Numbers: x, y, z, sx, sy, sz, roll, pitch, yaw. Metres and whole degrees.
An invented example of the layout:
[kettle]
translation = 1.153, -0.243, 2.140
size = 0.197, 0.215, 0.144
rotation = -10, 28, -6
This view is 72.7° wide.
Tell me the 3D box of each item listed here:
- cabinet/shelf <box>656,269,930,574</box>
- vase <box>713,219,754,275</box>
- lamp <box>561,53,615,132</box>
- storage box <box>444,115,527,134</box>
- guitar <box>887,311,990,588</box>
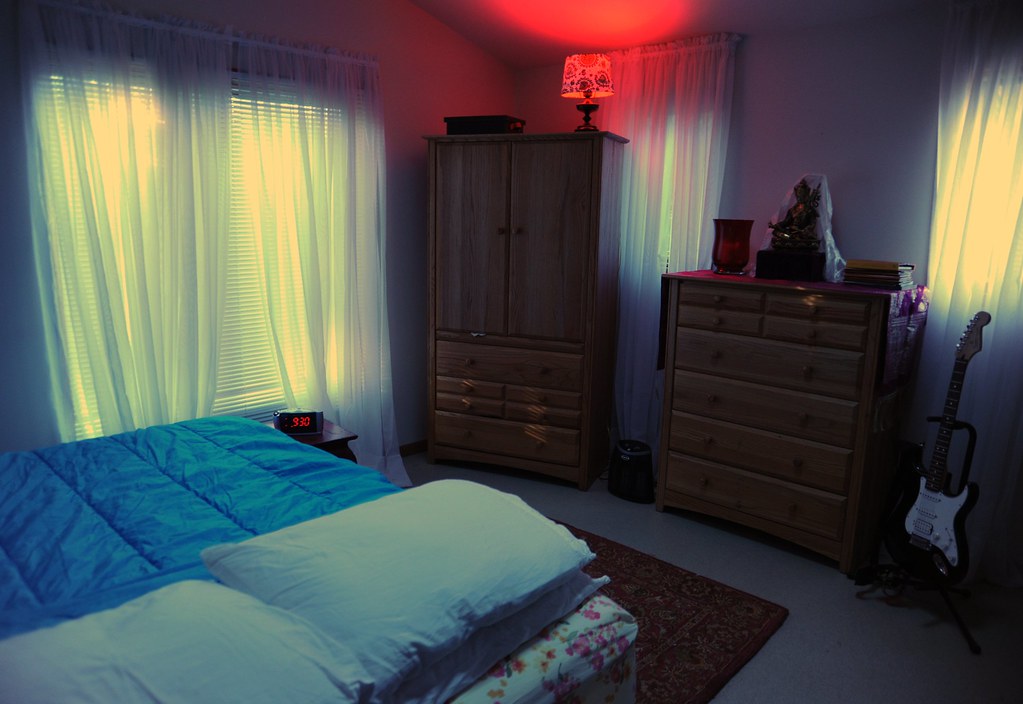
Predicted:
[cabinet/shelf]
translation = 1.539, 0.310, 4.052
size = 1.226, 1.466, 0.770
rotation = 10, 12, 40
[vase]
translation = 1.310, -0.641, 4.154
size = 0.261, 0.346, 0.238
rotation = -4, 14, -27
[lamp]
translation = 0.496, -1.651, 4.466
size = 0.315, 0.476, 0.327
rotation = 2, 16, 4
[storage box]
translation = -0.174, -1.455, 4.457
size = 0.470, 0.132, 0.290
rotation = 1, 15, 5
[guitar]
translation = 2.125, 0.455, 3.390
size = 0.342, 1.281, 0.404
rotation = 11, 19, 36
